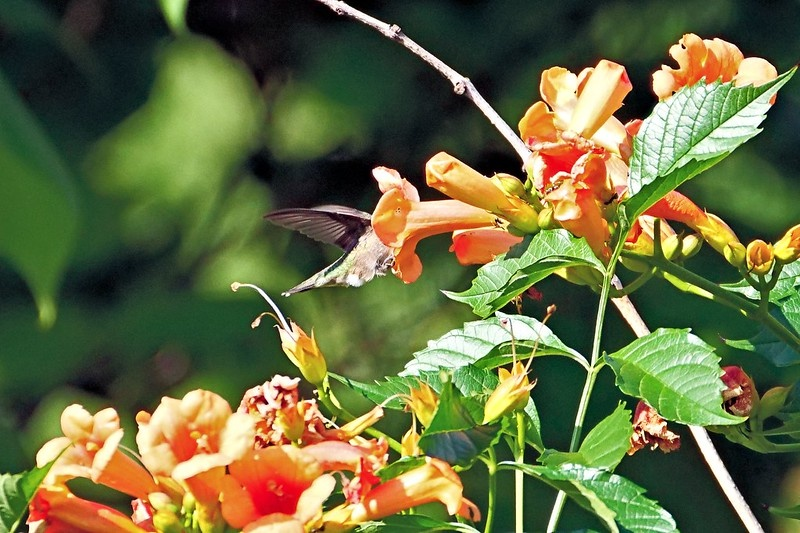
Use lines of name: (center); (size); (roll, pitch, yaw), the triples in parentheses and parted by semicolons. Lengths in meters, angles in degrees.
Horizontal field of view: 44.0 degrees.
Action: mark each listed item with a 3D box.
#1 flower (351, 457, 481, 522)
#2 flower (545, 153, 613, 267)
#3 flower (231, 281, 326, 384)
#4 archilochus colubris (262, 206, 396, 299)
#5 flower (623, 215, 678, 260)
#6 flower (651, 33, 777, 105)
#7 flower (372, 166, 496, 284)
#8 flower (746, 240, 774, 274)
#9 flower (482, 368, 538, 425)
flower: (0.036, 0.652, 2.922); (0.279, 0.128, 0.183); (-16, 2, 3)
flower: (0.592, -0.185, 3.247); (0.186, 0.321, 0.162); (-21, 1, 7)
flower: (-0.385, 0.204, 3.335); (0.173, 0.470, 0.237); (-14, -22, -30)
archilochus colubris: (-0.365, -0.121, 4.966); (0.518, 0.227, 0.523); (-24, -10, 1)
flower: (0.863, -0.114, 3.340); (0.143, 0.053, 0.116); (7, -63, -17)
flower: (1.025, -0.641, 3.318); (0.303, 0.303, 0.150); (13, -62, -20)
flower: (0.088, -0.147, 3.395); (0.441, 0.332, 0.318); (0, 16, 12)
flower: (1.197, -0.032, 3.353); (0.095, 0.108, 0.131); (0, -8, 12)
flower: (0.332, 0.366, 3.062); (0.157, 0.141, 0.354); (-6, -3, 5)
